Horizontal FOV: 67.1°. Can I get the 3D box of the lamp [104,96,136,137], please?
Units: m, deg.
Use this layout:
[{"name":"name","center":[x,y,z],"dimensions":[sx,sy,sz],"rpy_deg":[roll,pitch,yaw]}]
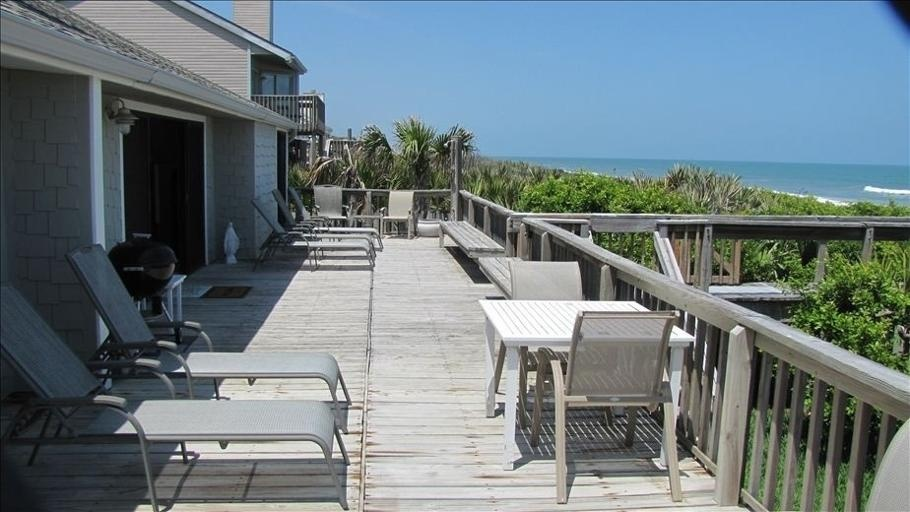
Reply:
[{"name":"lamp","center":[-4.158,-1.742,8.501],"dimensions":[0.306,0.433,0.250],"rpy_deg":[0,11,-15]}]
